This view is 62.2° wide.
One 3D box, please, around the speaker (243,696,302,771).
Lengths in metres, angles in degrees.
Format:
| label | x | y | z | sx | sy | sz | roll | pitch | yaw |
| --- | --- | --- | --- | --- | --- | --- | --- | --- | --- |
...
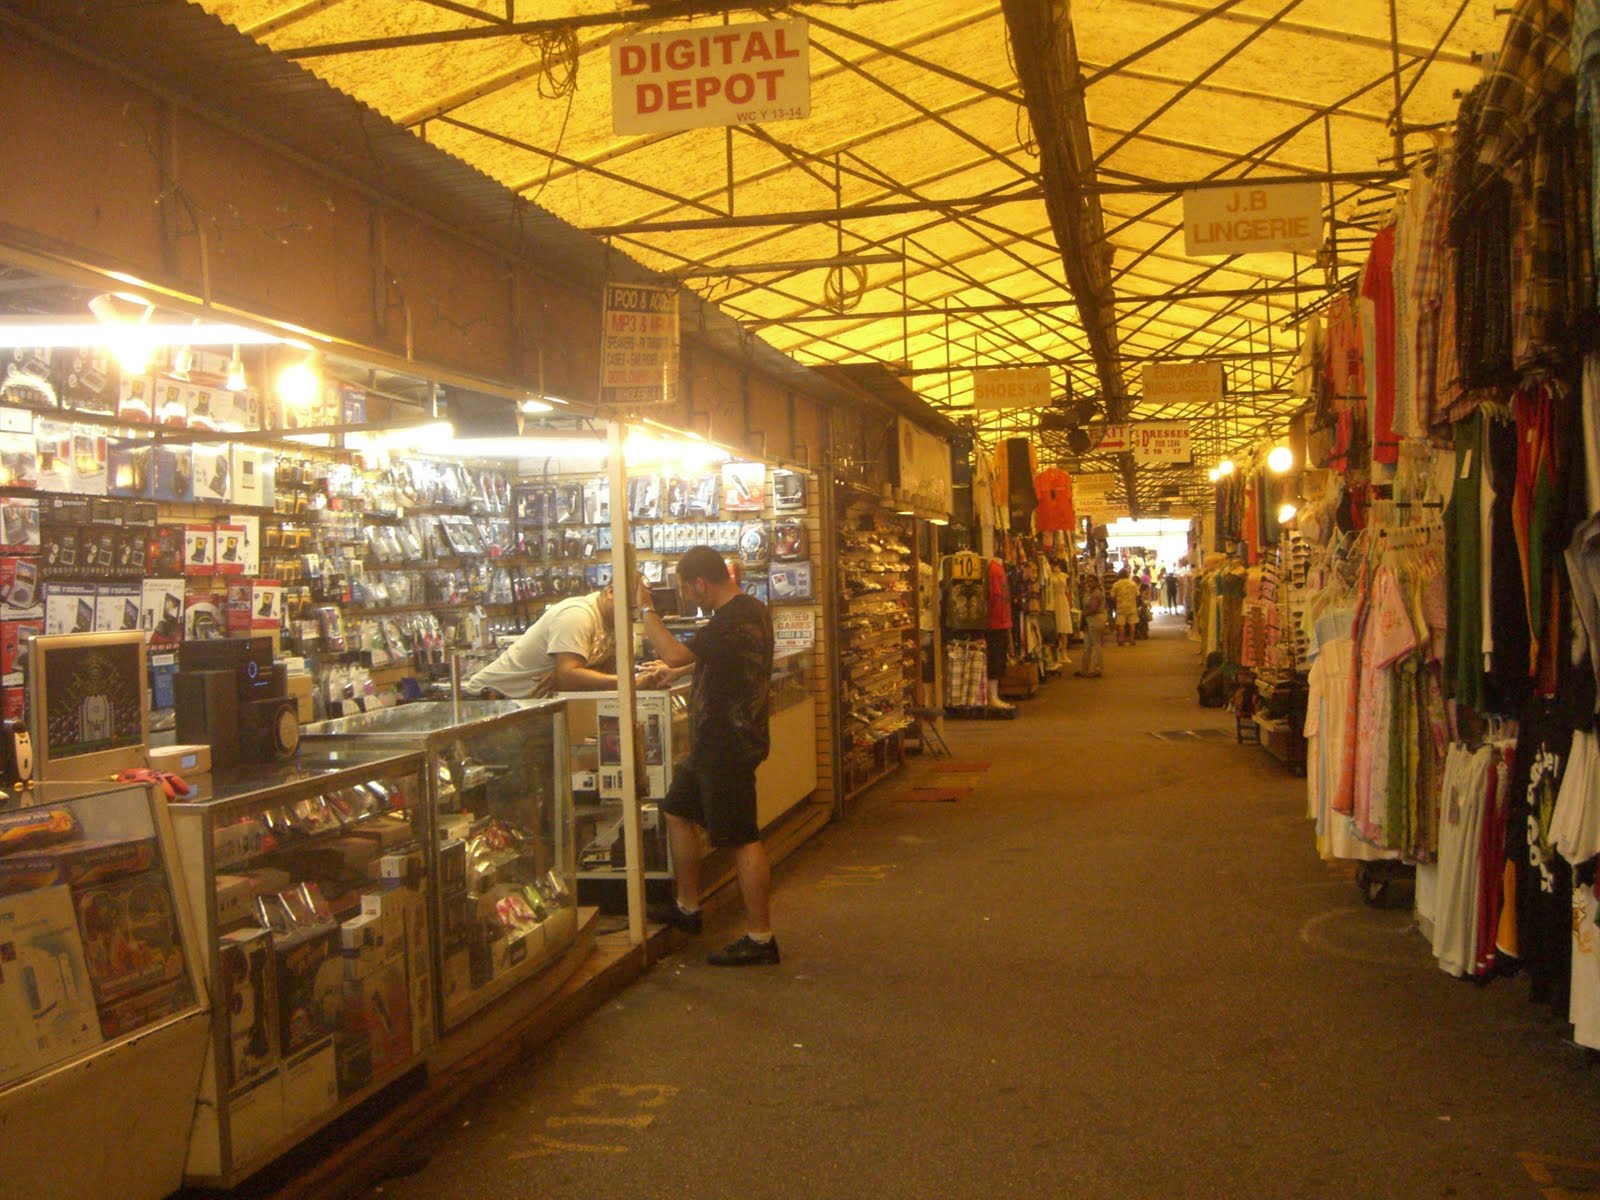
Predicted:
| label | x | y | z | sx | sy | sz | roll | pitch | yaw |
| --- | --- | --- | --- | --- | --- | --- | --- | --- | --- |
| speaker | -1.864 | 0.463 | 4.828 | 0.159 | 0.325 | 0.320 | -1 | -5 | 10 |

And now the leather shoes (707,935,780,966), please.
| label | x | y | z | sx | sy | sz | roll | pitch | yaw |
| --- | --- | --- | --- | --- | --- | --- | --- | --- | --- |
| leather shoes | -0.256 | 1.656 | 6.326 | 0.347 | 0.166 | 0.136 | 3 | -5 | 4 |

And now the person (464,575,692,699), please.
| label | x | y | z | sx | sy | sz | roll | pitch | yaw |
| --- | --- | --- | --- | --- | --- | --- | --- | --- | --- |
| person | -1.334 | 0.273 | 6.882 | 0.823 | 0.386 | 0.614 | -9 | -5 | 18 |

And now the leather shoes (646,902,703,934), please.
| label | x | y | z | sx | sy | sz | roll | pitch | yaw |
| --- | --- | --- | --- | --- | --- | --- | --- | --- | --- |
| leather shoes | -0.623 | 1.580 | 6.683 | 0.289 | 0.138 | 0.113 | 17 | -3 | 1 |
